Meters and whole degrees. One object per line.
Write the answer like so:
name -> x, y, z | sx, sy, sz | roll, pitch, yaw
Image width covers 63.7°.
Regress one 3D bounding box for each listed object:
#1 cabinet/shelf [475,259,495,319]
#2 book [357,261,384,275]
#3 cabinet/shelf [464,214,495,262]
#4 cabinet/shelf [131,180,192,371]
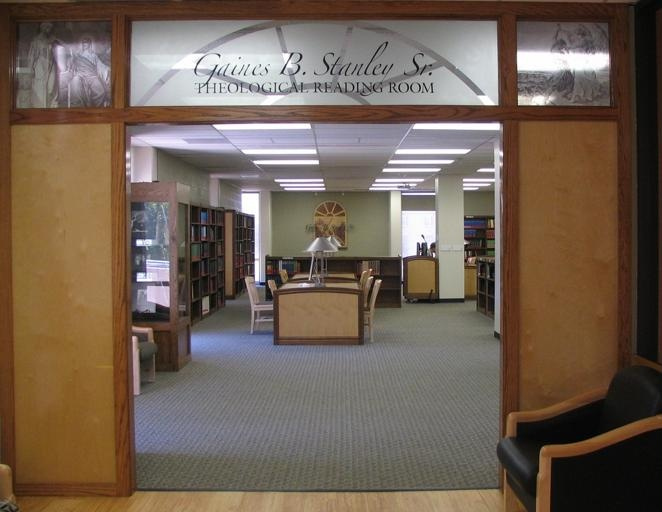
cabinet/shelf -> 3.052, 0.677, 10.458 | 0.337, 1.006, 1.069 | -1, 2, 4
book -> 0.892, 0.272, 11.729 | 0.311, 0.303, 0.103 | -1, -4, 14
cabinet/shelf -> 4.167, -0.451, 14.938 | 1.311, 1.271, 0.394 | 0, -3, -2
cabinet/shelf -> -2.102, 0.264, 6.623 | 0.794, 2.286, 0.535 | -3, 3, -30
